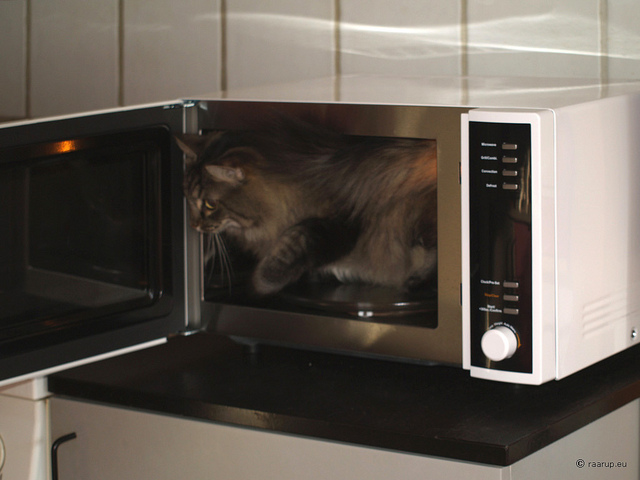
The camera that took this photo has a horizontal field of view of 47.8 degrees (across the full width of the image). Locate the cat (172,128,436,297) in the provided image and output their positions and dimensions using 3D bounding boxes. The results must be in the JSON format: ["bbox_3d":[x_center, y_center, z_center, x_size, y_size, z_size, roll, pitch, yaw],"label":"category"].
[{"bbox_3d":[0.042,-0.030,1.123,0.449,0.231,0.238,-1,80,-3],"label":"cat"}]
